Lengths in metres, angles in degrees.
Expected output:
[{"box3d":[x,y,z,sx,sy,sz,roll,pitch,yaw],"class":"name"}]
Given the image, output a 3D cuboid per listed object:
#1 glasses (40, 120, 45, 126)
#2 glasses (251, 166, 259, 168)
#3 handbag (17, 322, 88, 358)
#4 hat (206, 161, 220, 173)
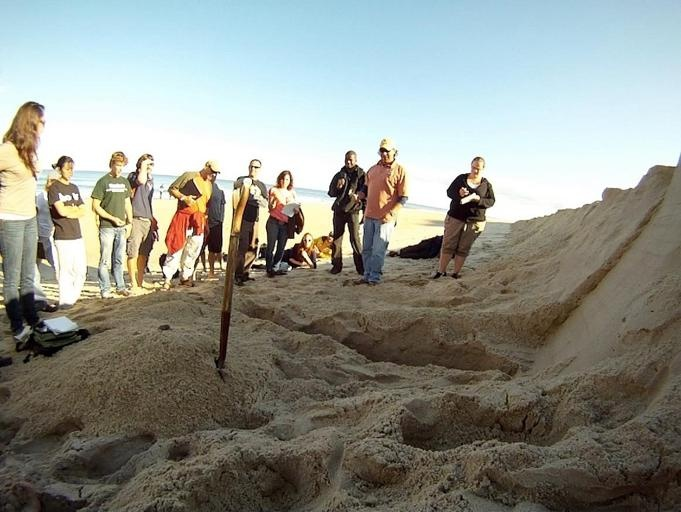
[{"box3d":[-2.711,-1.214,4.651,0.015,0.052,0.041,-7,11,-14],"class":"glasses"},{"box3d":[-1.131,-1.202,6.876,0.033,0.025,0.077,7,17,44],"class":"glasses"},{"box3d":[-2.467,0.698,4.328,0.386,0.146,0.306,9,12,40],"class":"handbag"},{"box3d":[-1.644,-1.144,6.587,0.150,0.162,0.145,-10,12,-24],"class":"hat"}]
